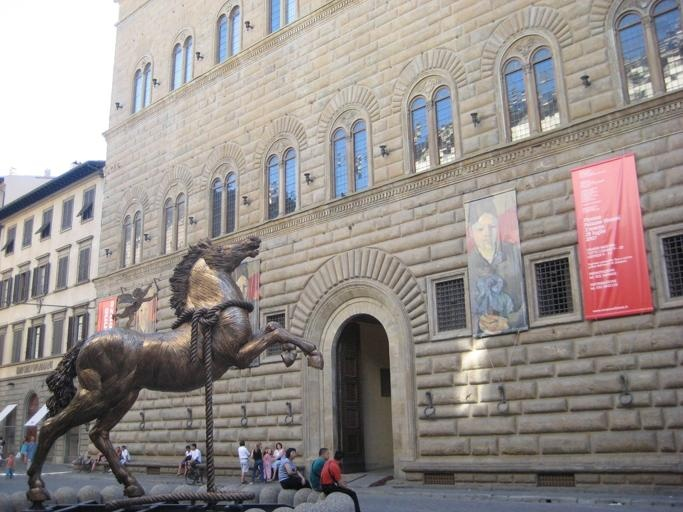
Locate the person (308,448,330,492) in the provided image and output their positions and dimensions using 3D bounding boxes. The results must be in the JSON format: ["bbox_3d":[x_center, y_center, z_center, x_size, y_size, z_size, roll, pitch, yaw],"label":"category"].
[{"bbox_3d":[-0.344,4.199,12.814,0.535,0.763,0.499,-12,-24,23],"label":"person"}]

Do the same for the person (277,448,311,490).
[{"bbox_3d":[-1.026,4.857,14.383,0.671,1.154,0.484,-7,-16,7],"label":"person"}]
